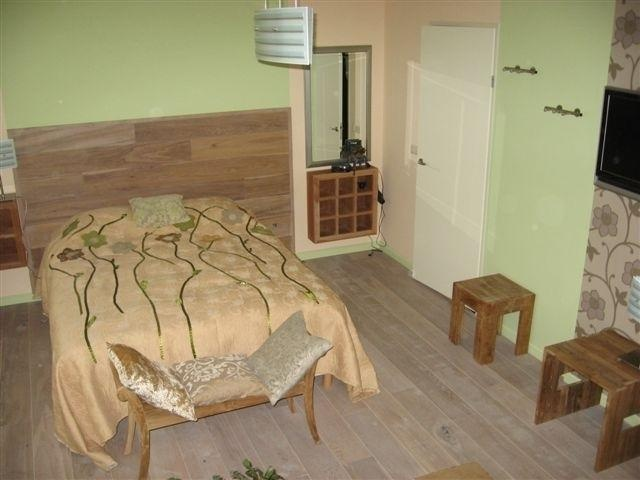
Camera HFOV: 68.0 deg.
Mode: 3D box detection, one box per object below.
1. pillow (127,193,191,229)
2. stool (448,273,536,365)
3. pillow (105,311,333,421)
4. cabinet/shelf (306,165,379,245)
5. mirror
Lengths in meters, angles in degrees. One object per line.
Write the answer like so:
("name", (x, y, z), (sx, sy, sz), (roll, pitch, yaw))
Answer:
("pillow", (-1.753, -0.302, 5.141), (0.466, 0.138, 0.413), (-8, 49, -27))
("stool", (1.601, 0.713, 4.400), (0.590, 0.657, 0.482), (-11, 22, -23))
("pillow", (-0.658, 0.886, 3.254), (1.406, 0.508, 0.513), (-9, 21, -17))
("cabinet/shelf", (0.273, -0.497, 6.112), (0.880, 0.855, 0.281), (-9, 17, -23))
("mirror", (0.226, -1.684, 5.989), (0.937, 1.419, 0.205), (-10, 22, -21))
